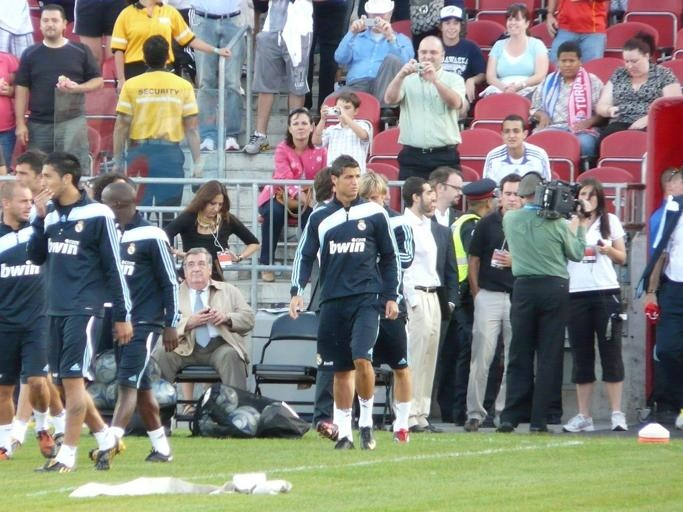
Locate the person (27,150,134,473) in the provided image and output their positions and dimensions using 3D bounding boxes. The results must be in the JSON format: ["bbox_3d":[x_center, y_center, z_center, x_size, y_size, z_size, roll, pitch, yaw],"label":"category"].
[{"bbox_3d":[-2.483,0.575,17.625,1.124,3.052,1.176,0,-2,21],"label":"person"}]

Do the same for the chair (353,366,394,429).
[{"bbox_3d":[0.291,1.596,20.517,0.541,0.652,0.477,0,-6,-42],"label":"chair"}]

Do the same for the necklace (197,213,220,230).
[{"bbox_3d":[-1.453,-0.368,20.563,0.217,0.180,0.094,-24,13,-19],"label":"necklace"}]

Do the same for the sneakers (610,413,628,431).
[{"bbox_3d":[2.973,1.768,19.876,0.172,0.193,0.199,0,-5,7],"label":"sneakers"}]

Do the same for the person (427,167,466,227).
[{"bbox_3d":[1.134,-0.662,20.724,0.402,0.708,0.428,3,4,30],"label":"person"}]

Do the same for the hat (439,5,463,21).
[{"bbox_3d":[1.437,-3.195,24.137,0.247,0.209,0.400,0,13,6],"label":"hat"}]

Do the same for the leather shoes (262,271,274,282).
[{"bbox_3d":[-0.841,0.229,21.457,0.132,0.124,0.098,6,1,7],"label":"leather shoes"}]

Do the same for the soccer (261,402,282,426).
[{"bbox_3d":[-0.743,1.648,19.378,0.166,0.203,0.213,15,-37,3],"label":"soccer"}]

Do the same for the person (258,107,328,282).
[{"bbox_3d":[-0.558,-0.748,21.607,0.810,2.050,1.155,4,0,-1],"label":"person"}]

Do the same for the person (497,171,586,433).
[{"bbox_3d":[2.095,0.492,19.650,0.936,2.745,0.540,-1,-5,13],"label":"person"}]

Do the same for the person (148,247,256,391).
[{"bbox_3d":[-1.510,0.827,20.322,1.121,1.778,0.986,-2,9,3],"label":"person"}]

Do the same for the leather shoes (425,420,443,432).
[{"bbox_3d":[0.973,1.849,19.945,0.201,0.137,0.069,-1,6,12],"label":"leather shoes"}]

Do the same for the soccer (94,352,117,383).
[{"bbox_3d":[-2.427,1.172,19.488,0.266,0.341,0.353,1,-2,-5],"label":"soccer"}]

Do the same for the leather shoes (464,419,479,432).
[{"bbox_3d":[1.401,1.813,19.976,0.128,0.136,0.187,-1,-5,18],"label":"leather shoes"}]

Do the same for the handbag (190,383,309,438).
[{"bbox_3d":[-0.983,1.677,19.374,0.860,0.336,0.642,4,-10,0],"label":"handbag"}]

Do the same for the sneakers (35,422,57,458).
[{"bbox_3d":[-2.876,1.807,18.195,0.165,0.300,0.135,-19,11,-12],"label":"sneakers"}]

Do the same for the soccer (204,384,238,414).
[{"bbox_3d":[-1.254,1.489,19.358,0.325,0.237,0.245,3,-4,-11],"label":"soccer"}]

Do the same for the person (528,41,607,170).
[{"bbox_3d":[2.733,-1.760,22.929,0.986,1.691,1.001,10,14,44],"label":"person"}]

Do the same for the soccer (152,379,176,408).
[{"bbox_3d":[-1.841,1.419,19.329,0.257,0.141,0.253,38,0,-25],"label":"soccer"}]

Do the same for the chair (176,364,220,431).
[{"bbox_3d":[-1.609,1.546,20.190,0.411,0.687,0.496,11,-2,-17],"label":"chair"}]

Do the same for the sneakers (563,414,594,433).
[{"bbox_3d":[2.530,1.810,19.909,0.357,0.168,0.150,1,0,-10],"label":"sneakers"}]

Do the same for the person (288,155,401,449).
[{"bbox_3d":[0.048,0.461,18.422,1.044,2.906,0.517,1,-5,0],"label":"person"}]

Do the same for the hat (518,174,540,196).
[{"bbox_3d":[2.003,-0.766,19.639,0.103,0.267,0.316,5,-7,-43],"label":"hat"}]

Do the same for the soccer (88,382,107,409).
[{"bbox_3d":[-2.527,1.432,19.313,0.099,0.260,0.193,-28,1,-11],"label":"soccer"}]

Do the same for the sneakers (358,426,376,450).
[{"bbox_3d":[0.267,1.811,18.451,0.101,0.263,0.112,-6,-32,4],"label":"sneakers"}]

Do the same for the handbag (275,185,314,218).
[{"bbox_3d":[-0.541,-0.650,21.512,0.365,0.375,0.167,4,-4,-3],"label":"handbag"}]

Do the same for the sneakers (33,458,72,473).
[{"bbox_3d":[-2.669,1.973,17.348,0.353,0.150,0.126,6,-2,0],"label":"sneakers"}]

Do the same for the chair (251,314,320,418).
[{"bbox_3d":[-0.570,1.217,20.221,0.953,1.137,0.991,0,3,-19],"label":"chair"}]

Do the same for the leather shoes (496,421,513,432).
[{"bbox_3d":[1.740,1.832,19.821,0.091,0.070,0.144,10,-12,-39],"label":"leather shoes"}]

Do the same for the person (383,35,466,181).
[{"bbox_3d":[0.981,-1.728,21.581,0.881,1.652,0.768,0,-5,4],"label":"person"}]

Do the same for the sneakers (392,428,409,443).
[{"bbox_3d":[0.616,1.829,18.980,0.131,0.132,0.133,7,-10,-38],"label":"sneakers"}]

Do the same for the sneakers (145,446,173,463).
[{"bbox_3d":[-1.740,1.917,17.831,0.218,0.092,0.119,-2,0,0],"label":"sneakers"}]

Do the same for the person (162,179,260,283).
[{"bbox_3d":[-1.472,-0.275,20.646,0.841,1.340,0.439,-15,34,-30],"label":"person"}]

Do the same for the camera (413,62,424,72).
[{"bbox_3d":[0.880,-2.207,21.453,0.101,0.082,0.147,5,-3,-7],"label":"camera"}]

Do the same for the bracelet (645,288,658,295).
[{"bbox_3d":[3.379,0.402,20.295,0.085,0.061,0.092,23,-18,-34],"label":"bracelet"}]

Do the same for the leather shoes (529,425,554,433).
[{"bbox_3d":[2.096,1.835,19.646,0.268,0.103,0.087,1,6,-18],"label":"leather shoes"}]
